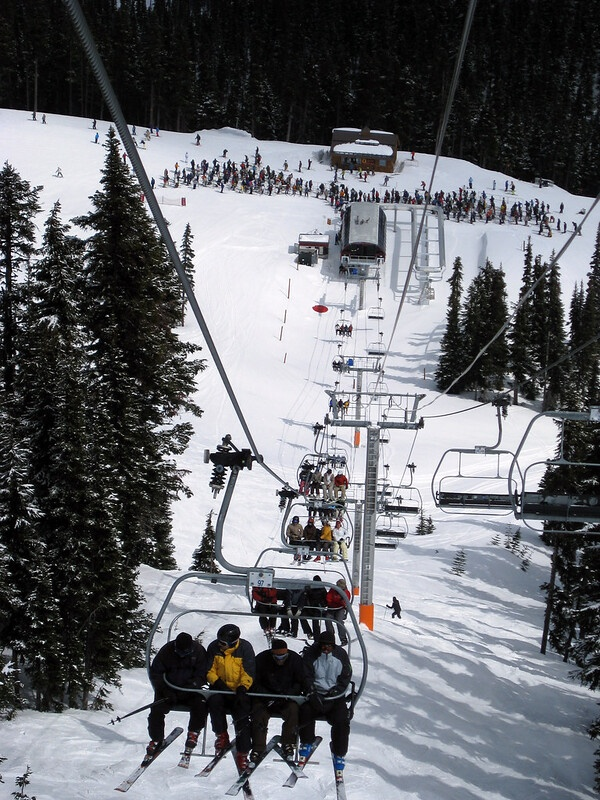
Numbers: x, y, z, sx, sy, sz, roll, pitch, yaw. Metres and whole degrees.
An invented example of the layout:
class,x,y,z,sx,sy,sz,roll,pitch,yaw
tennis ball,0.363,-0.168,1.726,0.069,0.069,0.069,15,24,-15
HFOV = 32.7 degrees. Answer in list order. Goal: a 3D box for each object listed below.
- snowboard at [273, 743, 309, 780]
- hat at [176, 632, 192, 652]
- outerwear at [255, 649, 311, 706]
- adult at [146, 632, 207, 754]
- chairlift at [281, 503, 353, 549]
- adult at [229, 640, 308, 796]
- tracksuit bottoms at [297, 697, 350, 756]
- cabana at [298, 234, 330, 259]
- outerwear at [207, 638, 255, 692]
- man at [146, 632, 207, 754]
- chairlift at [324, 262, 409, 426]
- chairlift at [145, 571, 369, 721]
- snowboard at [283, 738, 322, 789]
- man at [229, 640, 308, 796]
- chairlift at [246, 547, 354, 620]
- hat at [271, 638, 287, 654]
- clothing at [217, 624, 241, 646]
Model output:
class,x,y,z,sx,sy,sz,roll,pitch,yaw
snowboard,-0.164,4.765,13.438,0.384,0.096,0.561,35,14,-18
hat,-1.572,3.254,13.870,0.187,0.139,0.254,-1,37,-5
outerwear,-0.222,3.839,14.044,0.847,0.642,0.532,-1,-18,4
adult,-1.624,3.870,13.802,0.752,0.943,1.708,4,43,-4
chairlift,0.448,3.038,26.641,1.690,1.114,1.169,1,7,-5
adult,-0.350,4.064,13.707,0.753,0.905,1.617,8,48,-1
tracksuit bottoms,0.334,4.412,13.803,0.800,0.925,0.747,4,-27,-11
cabana,1.080,-11.732,76.451,2.663,1.816,1.586,1,32,-3
outerwear,-0.946,3.597,13.838,0.658,0.719,0.477,5,9,11
man,-1.634,3.873,13.822,0.752,0.943,1.708,4,43,-4
chairlift,2.983,-1.052,43.911,4.339,6.889,1.707,-1,-6,1
chairlift,-0.643,3.998,16.566,4.009,2.723,2.697,2,3,2
snowboard,0.014,4.768,13.558,0.489,0.161,1.118,-2,-3,2
man,-0.346,4.109,13.717,0.753,0.905,1.617,8,48,-1
chairlift,-0.082,3.379,18.414,1.816,0.753,1.286,9,5,-33
hat,-0.276,3.353,13.957,0.144,0.145,0.192,2,5,1
clothing,-0.980,3.120,13.856,0.266,0.276,0.310,9,22,11
